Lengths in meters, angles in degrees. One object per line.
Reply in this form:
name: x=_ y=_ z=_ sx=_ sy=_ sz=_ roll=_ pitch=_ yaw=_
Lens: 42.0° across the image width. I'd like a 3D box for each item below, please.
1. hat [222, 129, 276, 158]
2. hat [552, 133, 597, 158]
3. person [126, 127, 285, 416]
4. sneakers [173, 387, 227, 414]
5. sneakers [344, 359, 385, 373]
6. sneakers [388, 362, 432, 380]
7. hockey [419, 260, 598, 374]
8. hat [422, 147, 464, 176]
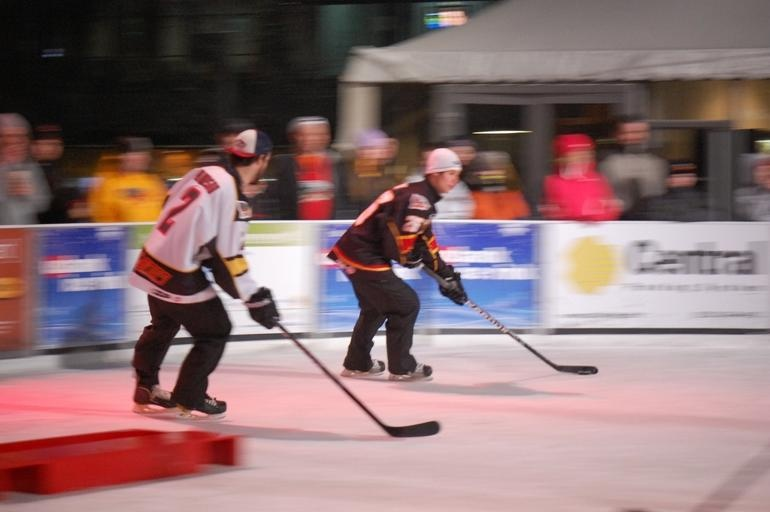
hat: x=-1.004 y=-0.836 z=7.443 sx=0.321 sy=0.109 sz=0.227 roll=1 pitch=3 yaw=-38
hat: x=1.891 y=-1.100 z=9.883 sx=0.291 sy=0.267 sz=0.335 roll=0 pitch=7 yaw=-6
person: x=-1.360 y=0.165 z=7.424 sx=1.076 sy=2.151 sz=0.556 roll=-2 pitch=17 yaw=-9
sneakers: x=-1.353 y=1.103 z=7.549 sx=0.440 sy=0.145 sz=0.148 roll=0 pitch=22 yaw=-19
sneakers: x=-0.155 y=0.974 z=8.671 sx=0.365 sy=0.114 sz=0.127 roll=-6 pitch=12 yaw=-23
sneakers: x=0.238 y=0.997 z=8.535 sx=0.406 sy=0.121 sz=0.126 roll=-4 pitch=2 yaw=1
hockey: x=1.141 y=0.577 z=9.522 sx=1.671 sy=0.310 sz=0.123 roll=28 pitch=54 yaw=8
hat: x=0.516 y=-0.779 z=8.337 sx=0.293 sy=0.141 sz=0.272 roll=4 pitch=4 yaw=-36
